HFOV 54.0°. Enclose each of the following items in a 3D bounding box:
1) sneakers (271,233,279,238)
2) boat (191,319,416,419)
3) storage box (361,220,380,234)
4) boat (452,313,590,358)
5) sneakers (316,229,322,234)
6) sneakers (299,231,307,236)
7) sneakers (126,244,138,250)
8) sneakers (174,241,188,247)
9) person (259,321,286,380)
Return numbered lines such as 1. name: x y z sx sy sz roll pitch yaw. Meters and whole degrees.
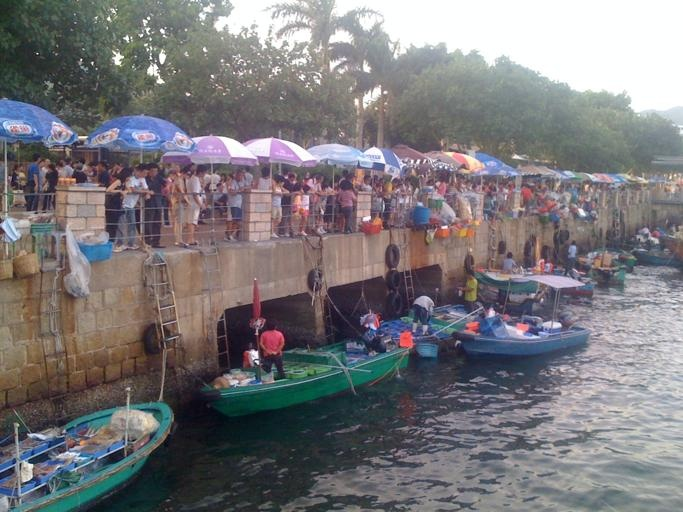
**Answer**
1. sneakers: -2.603 -0.794 26.239 0.122 0.174 0.385 -13 6 -32
2. boat: -1.173 4.209 23.663 2.983 1.338 5.247 3 6 45
3. storage box: 1.345 -1.256 29.103 0.496 0.333 0.663 1 0 35
4. boat: 7.892 3.458 29.432 6.347 1.846 1.621 -3 1 -25
5. sneakers: -0.942 -1.017 27.876 0.205 0.268 0.640 -2 2 -7
6. sneakers: -1.532 -0.904 26.875 0.266 0.124 0.686 -3 0 -3
7. sneakers: -6.882 -0.297 21.980 0.372 0.145 0.153 0 -6 -44
8. sneakers: -5.553 -0.394 23.137 0.447 0.192 0.170 4 9 20
9. person: -2.448 3.266 23.461 0.851 1.429 1.245 -2 1 -8
